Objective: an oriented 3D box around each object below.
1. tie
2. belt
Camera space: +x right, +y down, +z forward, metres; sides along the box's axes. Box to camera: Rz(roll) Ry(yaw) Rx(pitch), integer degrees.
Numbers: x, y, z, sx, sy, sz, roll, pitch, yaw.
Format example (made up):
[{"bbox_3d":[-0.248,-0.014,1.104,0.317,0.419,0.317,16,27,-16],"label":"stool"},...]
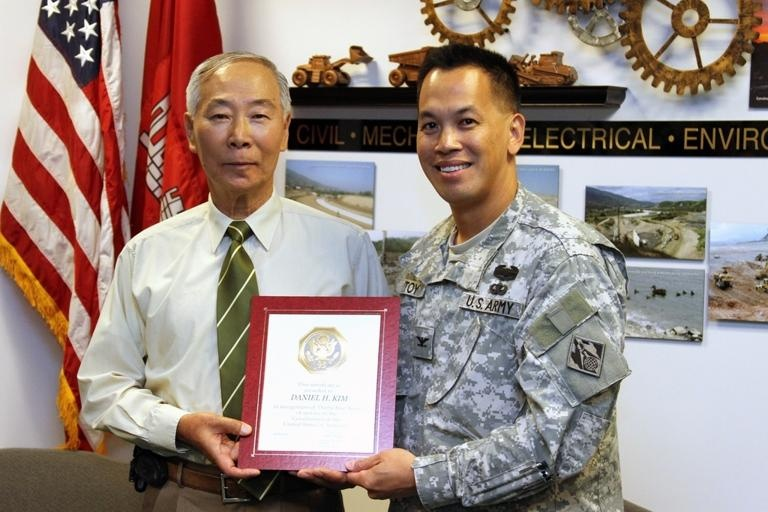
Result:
[{"bbox_3d":[-0.477,0.200,2.357,0.135,0.604,0.241,-2,7,-1],"label":"tie"},{"bbox_3d":[-0.486,0.724,2.330,0.191,0.066,0.257,4,-9,24],"label":"belt"}]
